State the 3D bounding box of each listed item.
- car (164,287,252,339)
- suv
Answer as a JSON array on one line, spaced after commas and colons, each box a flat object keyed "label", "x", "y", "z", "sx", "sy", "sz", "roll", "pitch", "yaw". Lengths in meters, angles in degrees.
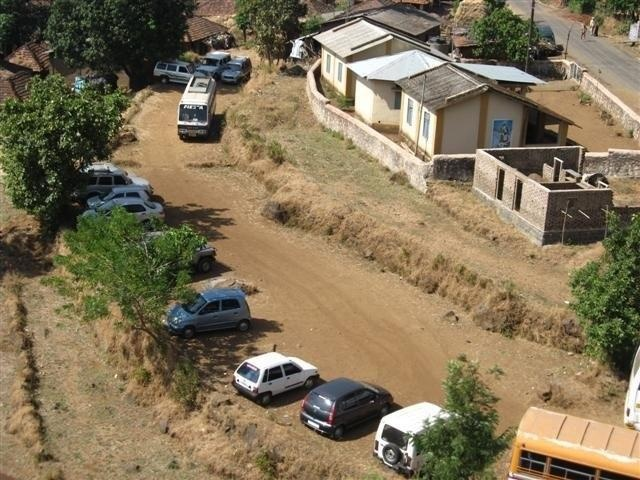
[{"label": "car", "x": -6.287, "y": 3.832, "z": 54.044, "sx": 3.753, "sy": 1.913, "sz": 2.360, "roll": -2, "pitch": 25, "yaw": -17}, {"label": "suv", "x": 4.191, "y": 9.248, "z": 46.733, "sx": 2.768, "sy": 3.592, "sz": 2.626, "roll": -10, "pitch": 24, "yaw": -25}]
